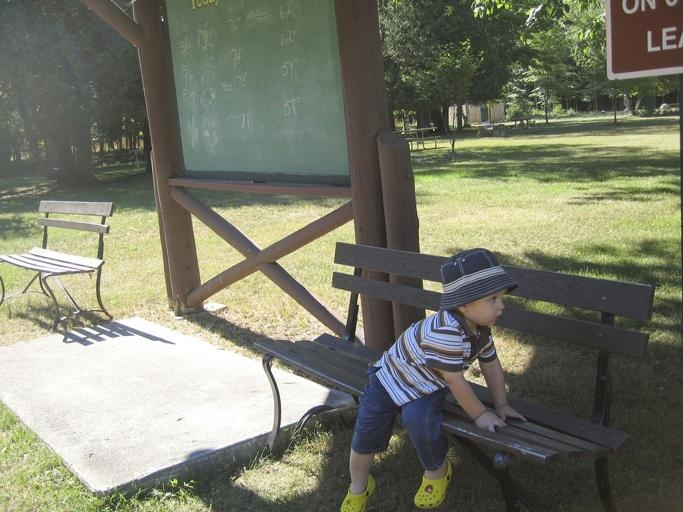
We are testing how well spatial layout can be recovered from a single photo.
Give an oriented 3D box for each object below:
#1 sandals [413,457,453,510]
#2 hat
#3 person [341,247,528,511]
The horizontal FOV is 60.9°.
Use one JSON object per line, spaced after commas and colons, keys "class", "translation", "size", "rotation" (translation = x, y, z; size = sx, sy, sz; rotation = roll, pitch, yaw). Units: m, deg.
{"class": "sandals", "translation": [0.459, 1.201, 2.987], "size": [0.133, 0.308, 0.083], "rotation": [17, 12, 35]}
{"class": "hat", "translation": [0.643, 0.098, 2.864], "size": [0.408, 0.246, 0.381], "rotation": [-22, -5, 18]}
{"class": "person", "translation": [0.653, 0.402, 3.618], "size": [1.087, 1.983, 1.068], "rotation": [9, 20, 33]}
